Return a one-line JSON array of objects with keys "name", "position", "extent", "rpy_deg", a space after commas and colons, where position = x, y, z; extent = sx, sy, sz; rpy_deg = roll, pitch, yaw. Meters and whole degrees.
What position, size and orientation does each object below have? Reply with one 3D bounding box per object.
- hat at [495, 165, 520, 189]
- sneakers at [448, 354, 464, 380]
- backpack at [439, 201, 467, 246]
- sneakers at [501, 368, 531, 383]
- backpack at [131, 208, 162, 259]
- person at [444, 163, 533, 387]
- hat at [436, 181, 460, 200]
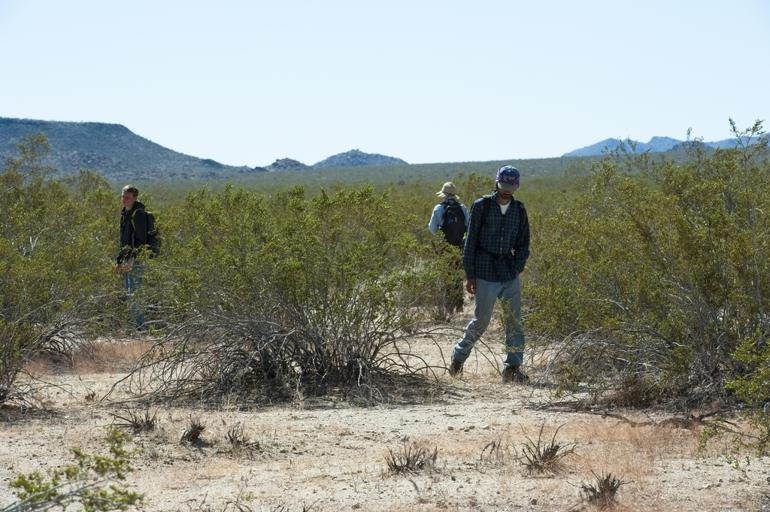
[{"name": "hat", "position": [1.422, -0.941, 11.487], "extent": [0.191, 0.268, 0.287], "rpy_deg": [7, 40, -2]}, {"name": "sneakers", "position": [0.855, 1.338, 11.941], "extent": [0.193, 0.273, 0.583], "rpy_deg": [4, -6, -3]}, {"name": "backpack", "position": [0.949, -0.460, 13.984], "extent": [0.458, 0.833, 0.438], "rpy_deg": [0, -11, -4]}, {"name": "sneakers", "position": [1.534, 1.375, 11.686], "extent": [0.250, 0.207, 0.157], "rpy_deg": [-4, 3, 3]}, {"name": "backpack", "position": [-3.338, -0.338, 13.527], "extent": [0.356, 0.721, 0.421], "rpy_deg": [4, 0, -24]}, {"name": "person", "position": [1.234, 0.194, 11.655], "extent": [0.874, 2.503, 0.594], "rpy_deg": [1, 13, 8]}, {"name": "hat", "position": [0.907, -1.008, 14.455], "extent": [0.249, 0.179, 0.294], "rpy_deg": [7, -6, 2]}]
